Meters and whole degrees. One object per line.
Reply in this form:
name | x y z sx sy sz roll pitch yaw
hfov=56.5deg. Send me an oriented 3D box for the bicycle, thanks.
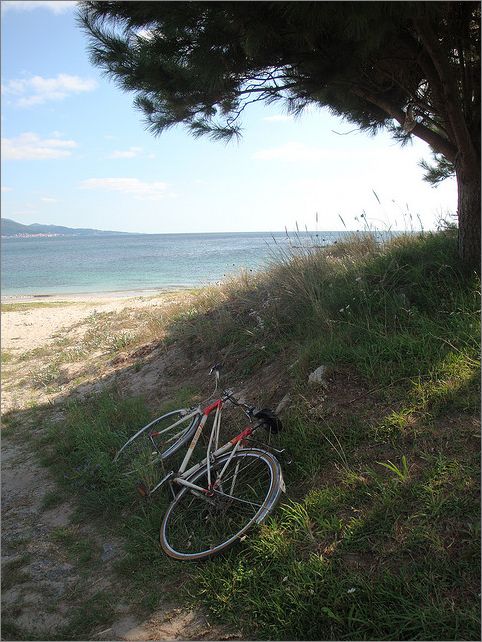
bicycle | -0.253 1.446 4.019 1.235 0.907 1.912 -40 30 -11
